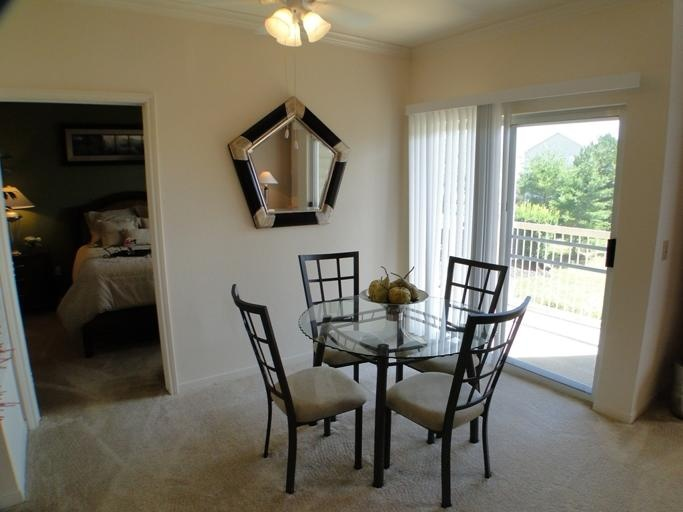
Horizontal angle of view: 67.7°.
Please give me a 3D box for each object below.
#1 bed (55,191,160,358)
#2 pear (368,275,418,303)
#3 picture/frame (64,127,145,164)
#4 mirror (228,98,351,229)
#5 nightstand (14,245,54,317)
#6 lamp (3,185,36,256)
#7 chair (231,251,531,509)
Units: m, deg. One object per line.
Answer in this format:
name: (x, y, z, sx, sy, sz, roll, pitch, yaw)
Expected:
bed: (-2.670, 0.050, 5.846, 0.961, 1.589, 2.321, -3, 8, -23)
pear: (0.327, 0.213, 3.583, 0.191, 0.113, 0.255, 4, -1, -25)
picture/frame: (-3.072, -1.446, 6.618, 0.934, 0.485, 0.070, -4, 9, -29)
mirror: (-0.513, -0.849, 4.546, 1.062, 1.043, 0.117, -10, 14, -34)
nightstand: (-3.766, 0.288, 6.438, 0.586, 0.980, 0.608, 2, -7, -44)
lamp: (-3.811, -0.442, 6.082, 0.296, 0.813, 0.504, -5, 10, -33)
chair: (0.327, 0.797, 3.691, 1.768, 1.439, 1.297, 1, 8, 5)
